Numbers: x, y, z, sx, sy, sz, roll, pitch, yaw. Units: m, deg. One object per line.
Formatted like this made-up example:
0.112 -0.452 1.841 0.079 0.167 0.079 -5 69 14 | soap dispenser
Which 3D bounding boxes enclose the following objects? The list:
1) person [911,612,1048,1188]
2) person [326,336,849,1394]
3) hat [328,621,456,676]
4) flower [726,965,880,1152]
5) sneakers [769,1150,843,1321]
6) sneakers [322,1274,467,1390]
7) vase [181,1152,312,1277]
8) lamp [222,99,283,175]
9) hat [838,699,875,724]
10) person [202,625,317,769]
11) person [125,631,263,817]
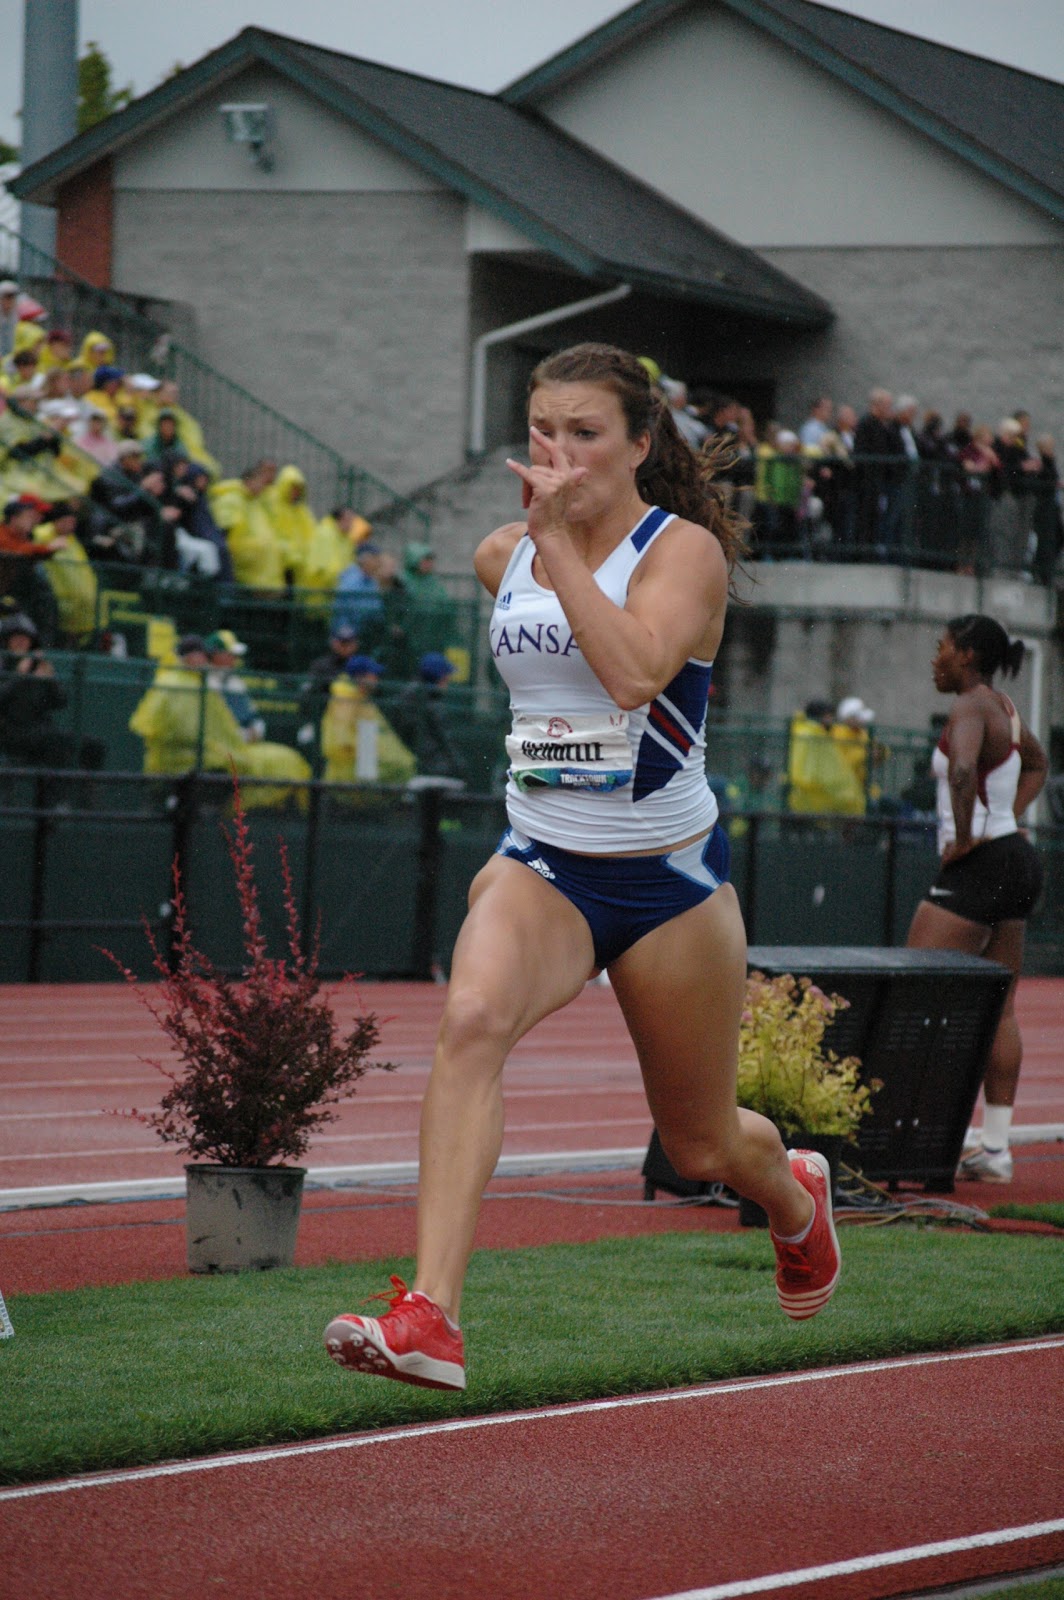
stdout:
1.594 0.378 7.962 0.513 2.077 0.875 7 6 11 | person
0.125 0.167 3.902 0.649 1.964 1.542 8 7 21 | person
-1.086 -1.142 16.567 0.949 0.281 0.298 0 18 -41 | hat
0.946 0.825 7.010 0.371 0.527 0.315 3 -14 0 | flower
0.586 0.932 4.587 0.151 0.371 0.158 3 7 26 | sneakers
-0.203 0.820 3.386 0.098 0.135 0.275 -20 -33 30 | sneakers
-0.728 1.068 5.636 0.311 0.205 0.281 4 -9 -9 | vase
-2.738 -6.581 21.848 0.559 0.729 0.693 4 38 7 | lamp
3.033 -0.840 20.864 0.304 0.341 0.359 -2 16 -4 | hat
-1.809 -0.683 14.589 0.796 0.925 0.530 5 17 4 | person
-2.136 -0.488 14.366 0.798 1.230 0.802 -7 -18 2 | person
